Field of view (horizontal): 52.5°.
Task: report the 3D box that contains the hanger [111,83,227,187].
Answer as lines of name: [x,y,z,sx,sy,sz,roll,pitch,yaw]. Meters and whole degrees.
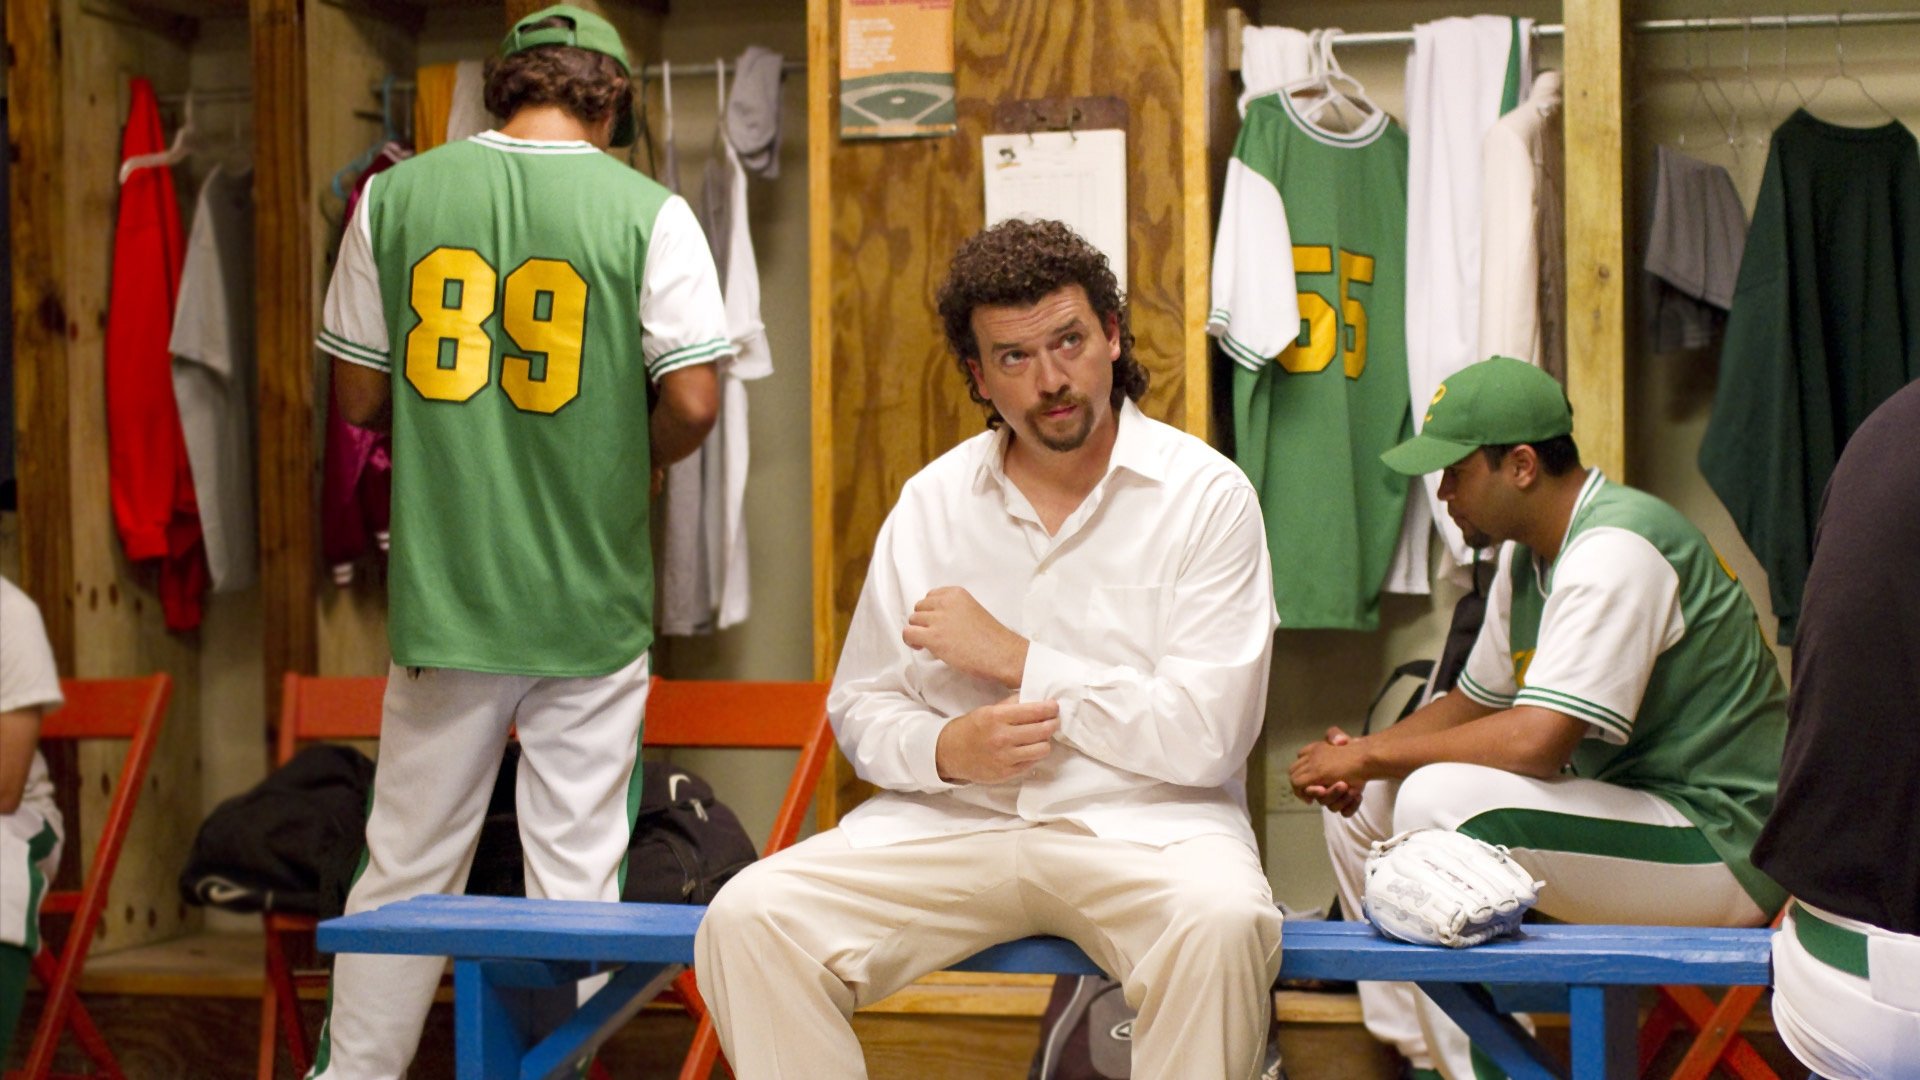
hanger: [-2.915,-1.463,7.088,0.204,0.372,0.192,-1,2,-9]

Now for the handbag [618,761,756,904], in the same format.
handbag: [-0.855,0.881,5.867,0.310,0.167,0.395,22,-5,-32]

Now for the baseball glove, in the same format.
baseball glove: [1.200,0.873,4.831,0.338,0.187,0.415,-12,12,-12]
